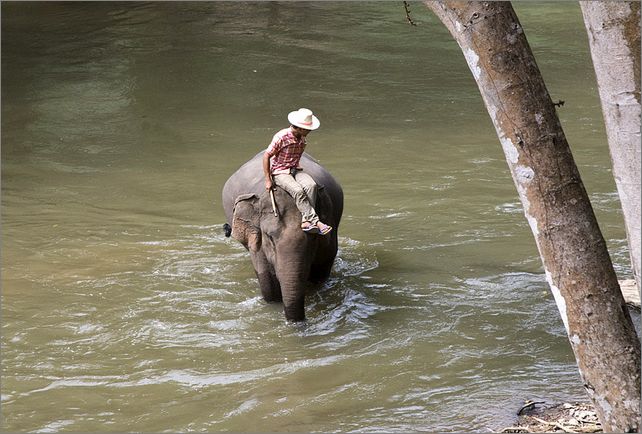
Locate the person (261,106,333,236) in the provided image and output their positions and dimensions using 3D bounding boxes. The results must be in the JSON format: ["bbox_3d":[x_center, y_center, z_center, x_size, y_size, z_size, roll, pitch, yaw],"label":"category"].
[{"bbox_3d":[-0.333,-0.531,14.681,0.826,1.749,0.999,-7,24,-2],"label":"person"}]

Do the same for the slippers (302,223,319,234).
[{"bbox_3d":[-0.125,0.178,14.529,0.136,0.163,0.185,-22,27,-34],"label":"slippers"}]

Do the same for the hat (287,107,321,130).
[{"bbox_3d":[-0.258,-1.278,14.604,0.371,0.126,0.352,40,36,26],"label":"hat"}]
